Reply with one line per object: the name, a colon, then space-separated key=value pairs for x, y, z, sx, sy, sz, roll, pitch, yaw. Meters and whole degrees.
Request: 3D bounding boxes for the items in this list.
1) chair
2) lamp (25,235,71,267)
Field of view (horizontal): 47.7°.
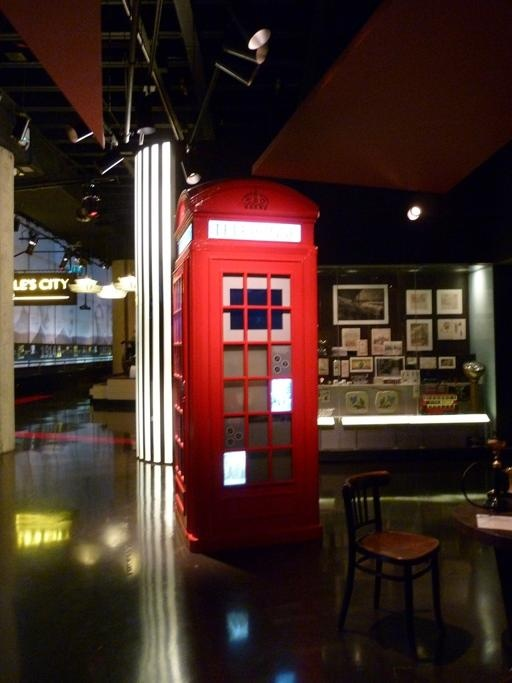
chair: x=0.658 y=1.040 z=2.864 sx=0.376 sy=0.722 sz=0.412 roll=-2 pitch=-1 yaw=-37
lamp: x=-6.360 y=-2.766 z=17.669 sx=0.825 sy=0.916 sz=1.450 roll=9 pitch=6 yaw=-34
